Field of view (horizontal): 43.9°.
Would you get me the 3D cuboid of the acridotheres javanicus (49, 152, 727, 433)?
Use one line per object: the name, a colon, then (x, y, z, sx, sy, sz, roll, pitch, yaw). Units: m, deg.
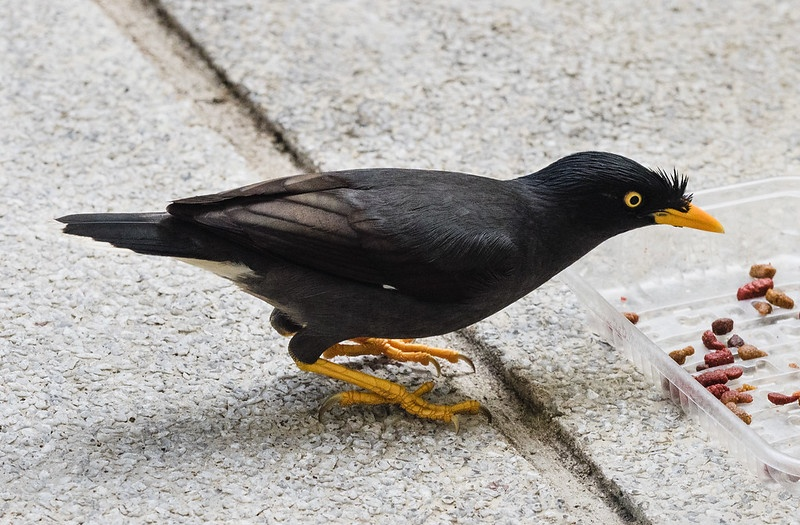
acridotheres javanicus: (0.023, 0.064, 5.241, 2.958, 0.994, 1.063, -7, 59, -7)
